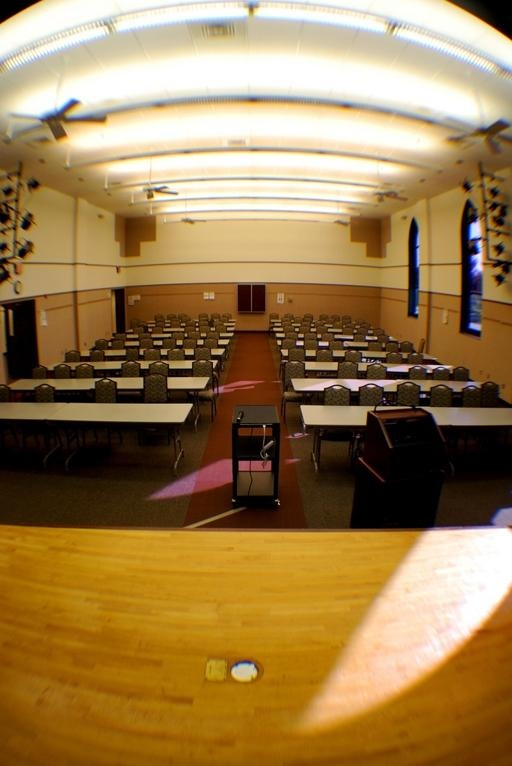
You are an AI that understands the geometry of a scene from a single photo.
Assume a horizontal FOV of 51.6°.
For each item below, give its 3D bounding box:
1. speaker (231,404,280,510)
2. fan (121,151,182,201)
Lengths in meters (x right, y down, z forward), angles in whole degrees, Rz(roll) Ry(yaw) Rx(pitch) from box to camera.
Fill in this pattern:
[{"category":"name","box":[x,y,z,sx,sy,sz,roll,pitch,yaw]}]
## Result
[{"category":"speaker","box":[0.003,0.798,5.907,0.542,1.091,1.510,1,8,1]},{"category":"fan","box":[-2.431,-4.860,12.335,1.289,1.413,1.325,2,25,-2]}]
